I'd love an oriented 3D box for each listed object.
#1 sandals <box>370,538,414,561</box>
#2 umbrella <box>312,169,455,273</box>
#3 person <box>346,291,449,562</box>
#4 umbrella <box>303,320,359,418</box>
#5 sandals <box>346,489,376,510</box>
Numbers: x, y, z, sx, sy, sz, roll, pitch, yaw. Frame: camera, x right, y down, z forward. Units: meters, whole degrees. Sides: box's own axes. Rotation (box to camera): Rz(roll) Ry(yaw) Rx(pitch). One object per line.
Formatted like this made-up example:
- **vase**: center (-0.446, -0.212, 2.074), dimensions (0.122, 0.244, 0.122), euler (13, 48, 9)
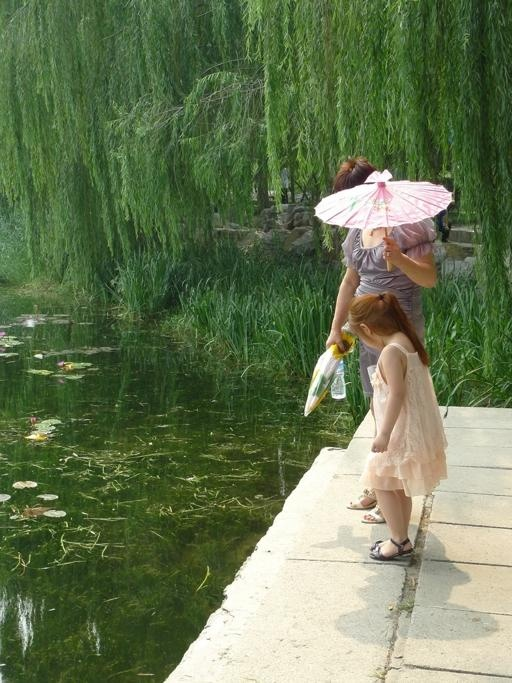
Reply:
- **sandals**: center (0.448, 0.689, 2.984), dimensions (0.096, 0.046, 0.080), euler (-3, 4, 6)
- **umbrella**: center (0.421, -0.498, 2.996), dimensions (0.324, 0.304, 0.372), euler (-17, 42, 6)
- **person**: center (0.457, 0.273, 2.970), dimensions (0.276, 0.873, 0.309), euler (-3, 9, 26)
- **umbrella**: center (0.285, 0.086, 3.518), dimensions (0.085, 0.298, 0.083), euler (2, 40, -33)
- **sandals**: center (0.393, 0.589, 3.375), dimensions (0.103, 0.057, 0.052), euler (0, 2, -9)
